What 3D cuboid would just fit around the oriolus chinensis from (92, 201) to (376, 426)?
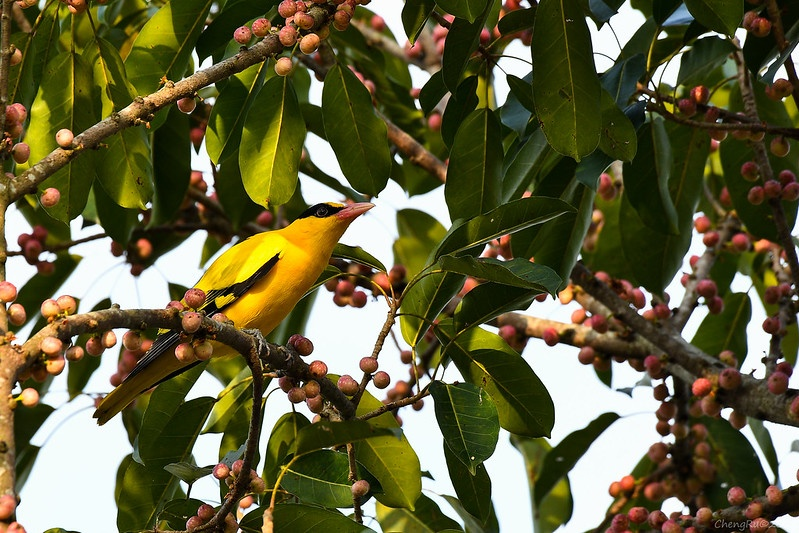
[{"bbox_3d":[-1.276,0.084,8.854,1.367,1.053,2.182,8,-89,-25],"label":"oriolus chinensis"}]
